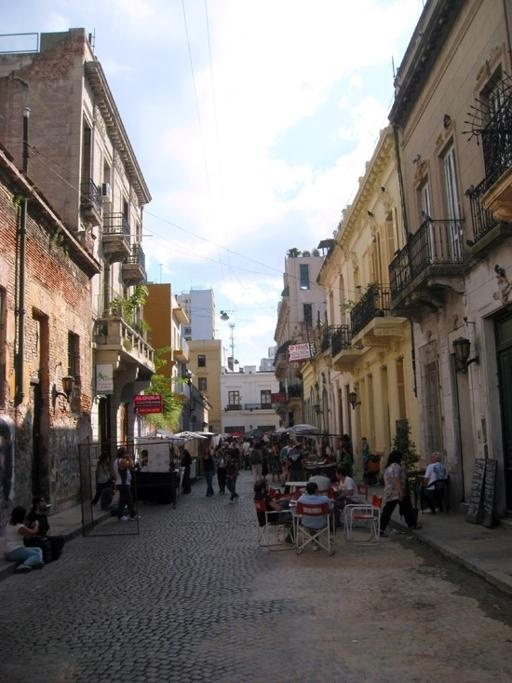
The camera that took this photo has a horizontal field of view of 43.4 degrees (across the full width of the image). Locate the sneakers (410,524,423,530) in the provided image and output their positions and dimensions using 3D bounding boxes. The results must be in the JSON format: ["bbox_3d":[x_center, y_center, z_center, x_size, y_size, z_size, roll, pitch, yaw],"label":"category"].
[{"bbox_3d":[2.663,3.087,10.744,0.207,0.076,0.399,-4,-13,13],"label":"sneakers"}]

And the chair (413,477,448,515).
[{"bbox_3d":[3.559,3.109,13.178,0.694,0.989,0.739,0,5,6],"label":"chair"}]

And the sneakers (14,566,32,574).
[{"bbox_3d":[-3.079,3.029,8.616,0.216,0.086,0.159,-5,4,-1],"label":"sneakers"}]

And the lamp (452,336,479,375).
[{"bbox_3d":[3.822,0.228,11.783,0.361,0.577,0.503,-3,-12,8],"label":"lamp"}]

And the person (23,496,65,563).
[{"bbox_3d":[-3.144,2.813,9.611,0.506,0.916,0.532,-1,-4,9],"label":"person"}]

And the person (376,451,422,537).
[{"bbox_3d":[2.469,2.612,11.212,0.628,1.415,1.230,-4,-12,13],"label":"person"}]

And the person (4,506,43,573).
[{"bbox_3d":[-3.204,2.739,9.008,0.498,0.815,0.808,5,-14,-28],"label":"person"}]
